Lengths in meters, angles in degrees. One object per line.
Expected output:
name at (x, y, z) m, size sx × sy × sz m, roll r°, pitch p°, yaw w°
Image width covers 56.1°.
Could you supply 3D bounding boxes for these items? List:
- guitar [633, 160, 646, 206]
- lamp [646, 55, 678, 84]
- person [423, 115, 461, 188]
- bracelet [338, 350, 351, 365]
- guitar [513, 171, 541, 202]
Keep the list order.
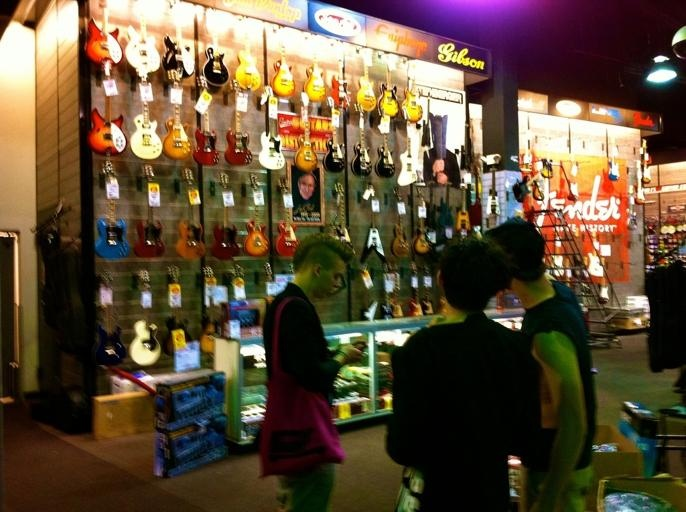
guitar at (6.431, -1.597, 14.003) m, size 0.159 × 0.901 × 0.346 m, roll 1°, pitch 5°, yaw 23°
lamp at (5.093, -3.015, 10.292) m, size 0.378 × 0.417 × 0.579 m, roll 2°, pitch 6°, yaw 23°
person at (1.530, -1.650, 10.014) m, size 0.390 × 1.142 × 0.732 m, roll 3°, pitch 6°, yaw 37°
bracelet at (0.011, 0.627, 3.942) m, size 0.060 × 0.061 × 0.013 m, roll -19°, pitch -18°, yaw -27°
guitar at (3.064, -1.107, 10.728) m, size 0.413 × 0.255 × 0.832 m, roll -29°, pitch 0°, yaw 3°
